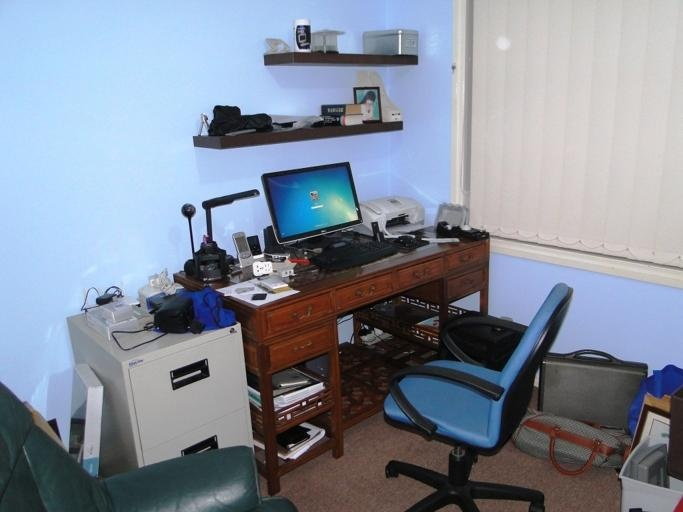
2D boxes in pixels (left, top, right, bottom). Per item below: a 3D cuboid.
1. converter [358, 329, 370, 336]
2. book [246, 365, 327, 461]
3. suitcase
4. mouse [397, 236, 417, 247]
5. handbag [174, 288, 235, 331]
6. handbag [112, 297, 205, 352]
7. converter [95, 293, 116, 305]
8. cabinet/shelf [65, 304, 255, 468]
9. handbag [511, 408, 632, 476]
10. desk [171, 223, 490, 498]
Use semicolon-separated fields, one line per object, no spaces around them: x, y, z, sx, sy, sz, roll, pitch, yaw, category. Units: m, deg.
0.174;0.590;4.098;0.081;0.055;0.044;-5;6;-40;converter
-0.292;0.846;3.039;0.439;0.425;0.460;7;14;38;book
1.458;0.791;3.060;0.505;0.432;0.182;10;19;18;suitcase
0.419;-0.094;3.365;0.067;0.034;0.092;5;16;17;mouse
-0.681;0.276;2.723;0.216;0.065;0.215;14;23;-10;handbag
-0.867;0.296;2.670;0.293;0.097;0.299;10;21;24;handbag
-1.281;0.230;2.872;0.053;0.030;0.075;5;10;8;converter
-0.912;0.601;3.116;0.989;1.142;0.655;4;12;36;cabinet/shelf
1.285;1.040;2.969;0.405;0.150;0.331;12;17;28;handbag
0.138;0.513;3.539;1.997;1.105;0.713;-15;21;-40;desk
